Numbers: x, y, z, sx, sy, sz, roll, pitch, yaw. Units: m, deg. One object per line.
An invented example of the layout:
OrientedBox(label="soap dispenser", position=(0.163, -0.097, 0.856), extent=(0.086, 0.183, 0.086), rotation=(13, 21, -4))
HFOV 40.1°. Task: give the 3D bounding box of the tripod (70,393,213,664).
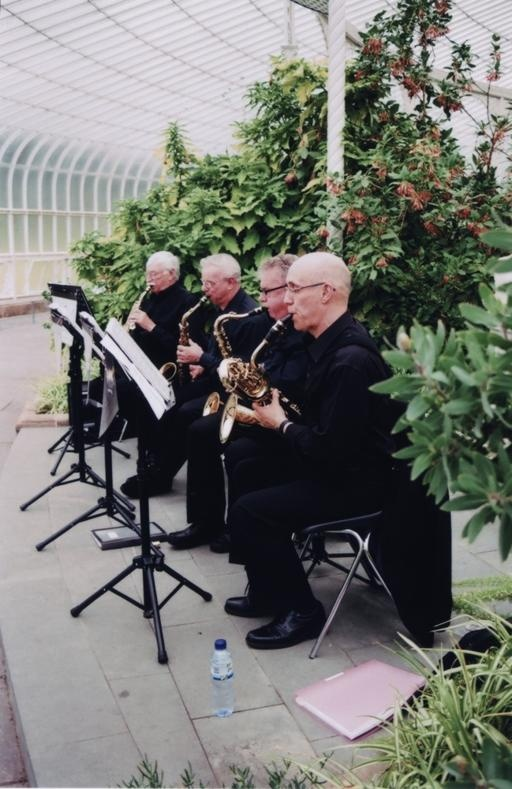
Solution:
OrientedBox(label="tripod", position=(-0.423, 0.562, 3.023), extent=(0.493, 0.818, 0.545), rotation=(-1, -3, -26))

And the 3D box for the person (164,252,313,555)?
OrientedBox(label="person", position=(-0.105, 0.119, 3.813), extent=(0.733, 1.658, 0.728), rotation=(-1, 4, -14))

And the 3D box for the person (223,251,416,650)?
OrientedBox(label="person", position=(0.174, 0.187, 3.031), extent=(0.836, 1.551, 0.799), rotation=(-2, 13, -25))

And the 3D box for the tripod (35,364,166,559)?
OrientedBox(label="tripod", position=(-0.712, 0.335, 3.605), extent=(0.687, 1.042, 0.720), rotation=(-2, 13, -22))

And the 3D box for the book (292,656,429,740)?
OrientedBox(label="book", position=(0.364, 1.035, 2.433), extent=(0.376, 0.058, 0.285), rotation=(-10, 13, -42))

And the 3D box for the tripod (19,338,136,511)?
OrientedBox(label="tripod", position=(-1.132, 0.178, 4.428), extent=(0.643, 1.056, 0.673), rotation=(-2, 13, -20))

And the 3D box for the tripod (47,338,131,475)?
OrientedBox(label="tripod", position=(-1.185, 0.104, 5.003), extent=(0.545, 0.959, 0.562), rotation=(-2, 13, -20))

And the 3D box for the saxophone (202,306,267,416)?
OrientedBox(label="saxophone", position=(-0.195, -0.218, 4.402), extent=(0.383, 0.627, 0.384), rotation=(-3, 12, -24))

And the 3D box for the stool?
OrientedBox(label="stool", position=(0.372, 0.725, 3.182), extent=(0.567, 0.730, 0.468), rotation=(2, 2, -18))
